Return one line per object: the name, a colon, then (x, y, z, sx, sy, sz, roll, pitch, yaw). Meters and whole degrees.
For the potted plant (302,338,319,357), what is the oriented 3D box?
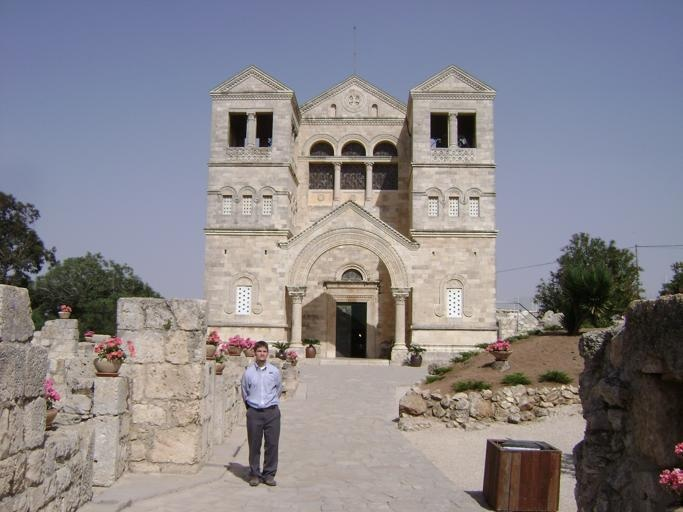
potted plant: (-1.348, 4.100, 36.103, 0.689, 0.794, 1.925, 2, -7, -1)

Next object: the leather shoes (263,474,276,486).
leather shoes: (-1.180, 3.795, 13.709, 0.270, 0.169, 0.204, 8, -9, -41)

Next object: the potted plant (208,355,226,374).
potted plant: (-2.402, 2.185, 16.350, 0.376, 0.309, 0.372, -3, -8, 23)

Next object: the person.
person: (-1.384, 2.664, 13.817, 0.662, 2.414, 0.465, 3, -6, -7)

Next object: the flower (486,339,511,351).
flower: (4.764, 2.708, 24.433, 0.533, 0.232, 0.538, 1, -10, -15)

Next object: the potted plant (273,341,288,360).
potted plant: (-2.401, 3.764, 32.622, 0.432, 0.449, 0.441, -3, -9, 33)

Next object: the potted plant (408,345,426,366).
potted plant: (3.241, 4.157, 33.977, 0.664, 0.896, 1.542, 2, -7, 5)

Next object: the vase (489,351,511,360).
vase: (4.921, 2.998, 24.506, 0.541, 0.299, 0.568, 1, -7, 12)

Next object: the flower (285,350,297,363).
flower: (-1.808, 3.713, 30.168, 0.508, 0.517, 0.515, 2, -11, -11)

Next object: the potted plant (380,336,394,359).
potted plant: (1.963, 4.314, 37.725, 0.915, 1.083, 0.785, 0, -6, 0)

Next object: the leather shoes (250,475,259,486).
leather shoes: (-1.446, 3.769, 13.542, 0.202, 0.139, 0.159, 5, -7, -24)
